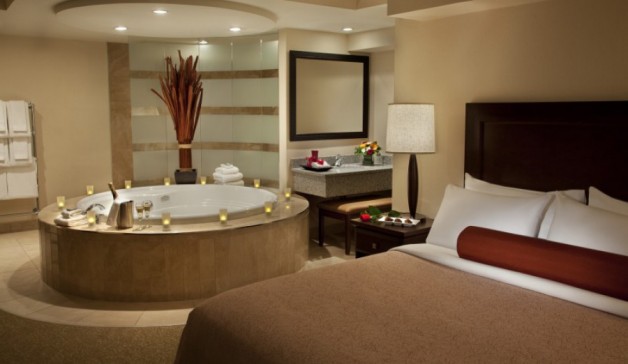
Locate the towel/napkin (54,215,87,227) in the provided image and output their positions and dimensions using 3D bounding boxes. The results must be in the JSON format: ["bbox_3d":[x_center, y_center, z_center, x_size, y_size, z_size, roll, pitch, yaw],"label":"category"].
[{"bbox_3d":[-2.575,0.419,4.346,0.168,0.051,0.171,-4,8,-38],"label":"towel/napkin"}]

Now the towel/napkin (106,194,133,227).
[{"bbox_3d":[-2.044,0.317,4.365,0.303,0.277,0.250,-2,8,-25],"label":"towel/napkin"}]

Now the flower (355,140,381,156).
[{"bbox_3d":[0.888,-0.512,6.504,0.288,0.162,0.283,3,1,15],"label":"flower"}]

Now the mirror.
[{"bbox_3d":[0.183,-1.379,6.342,1.489,1.374,0.101,-3,6,-31],"label":"mirror"}]

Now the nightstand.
[{"bbox_3d":[0.866,0.698,4.585,0.782,0.486,0.754,6,6,29],"label":"nightstand"}]

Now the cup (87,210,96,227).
[{"bbox_3d":[-2.355,0.373,4.340,0.086,0.170,0.168,-5,11,-29],"label":"cup"}]

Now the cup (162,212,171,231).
[{"bbox_3d":[-1.537,0.410,4.257,0.074,0.165,0.141,-4,10,-21],"label":"cup"}]

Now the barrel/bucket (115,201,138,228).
[{"bbox_3d":[-2.005,0.338,4.319,0.223,0.266,0.168,2,3,8],"label":"barrel/bucket"}]

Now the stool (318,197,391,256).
[{"bbox_3d":[0.672,0.588,6.177,1.199,0.588,0.644,-6,10,-42],"label":"stool"}]

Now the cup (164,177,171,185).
[{"bbox_3d":[-2.189,-0.010,6.100,0.099,0.108,0.099,1,8,0],"label":"cup"}]

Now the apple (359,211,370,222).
[{"bbox_3d":[0.562,0.386,4.555,0.101,0.097,0.099,-1,1,23],"label":"apple"}]

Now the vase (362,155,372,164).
[{"bbox_3d":[0.839,-0.340,6.404,0.127,0.126,0.132,-1,4,-22],"label":"vase"}]

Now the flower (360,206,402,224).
[{"bbox_3d":[0.724,0.365,4.553,0.378,0.123,0.249,2,4,9],"label":"flower"}]

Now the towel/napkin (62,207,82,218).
[{"bbox_3d":[-2.623,0.312,4.437,0.151,0.058,0.146,6,6,43],"label":"towel/napkin"}]

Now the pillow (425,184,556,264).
[{"bbox_3d":[1.451,0.334,3.513,0.687,0.605,0.188,10,-20,47],"label":"pillow"}]

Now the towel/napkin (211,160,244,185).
[{"bbox_3d":[-1.316,-0.153,6.156,0.367,0.253,0.380,5,8,38],"label":"towel/napkin"}]
